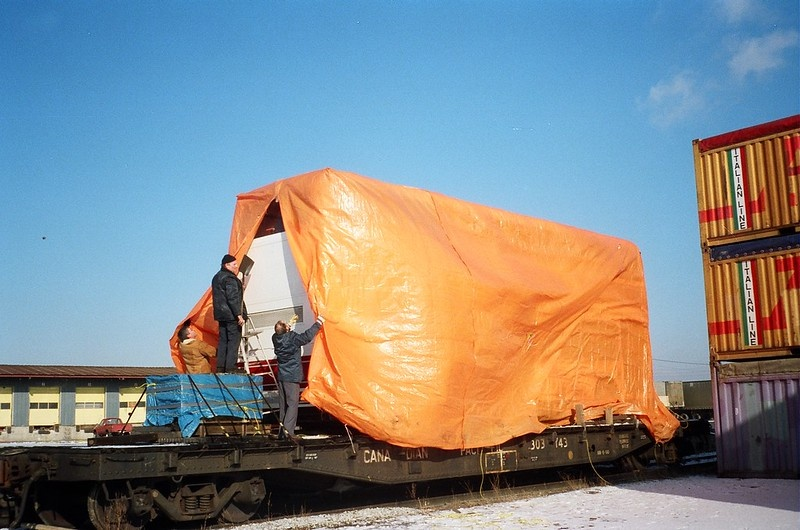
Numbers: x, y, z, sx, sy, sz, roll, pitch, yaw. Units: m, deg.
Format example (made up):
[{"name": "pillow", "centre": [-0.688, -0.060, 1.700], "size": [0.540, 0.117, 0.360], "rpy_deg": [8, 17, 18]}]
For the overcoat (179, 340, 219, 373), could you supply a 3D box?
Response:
[{"name": "overcoat", "centre": [-4.337, 1.977, 15.247], "size": [0.671, 0.900, 0.563], "rpy_deg": [-1, 14, 30]}]

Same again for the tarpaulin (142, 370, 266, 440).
[{"name": "tarpaulin", "centre": [-3.971, 2.721, 14.355], "size": [1.525, 1.026, 1.546], "rpy_deg": [2, -8, -30]}]

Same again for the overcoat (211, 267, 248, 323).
[{"name": "overcoat", "centre": [-3.605, 0.660, 14.951], "size": [0.648, 1.148, 1.109], "rpy_deg": [-3, 1, -36]}]

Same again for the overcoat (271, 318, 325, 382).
[{"name": "overcoat", "centre": [-2.160, 1.785, 14.592], "size": [1.026, 1.293, 0.377], "rpy_deg": [-1, -5, 24]}]

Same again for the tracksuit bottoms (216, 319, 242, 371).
[{"name": "tracksuit bottoms", "centre": [-3.643, 1.720, 14.963], "size": [0.499, 1.073, 0.389], "rpy_deg": [1, -5, -3]}]
